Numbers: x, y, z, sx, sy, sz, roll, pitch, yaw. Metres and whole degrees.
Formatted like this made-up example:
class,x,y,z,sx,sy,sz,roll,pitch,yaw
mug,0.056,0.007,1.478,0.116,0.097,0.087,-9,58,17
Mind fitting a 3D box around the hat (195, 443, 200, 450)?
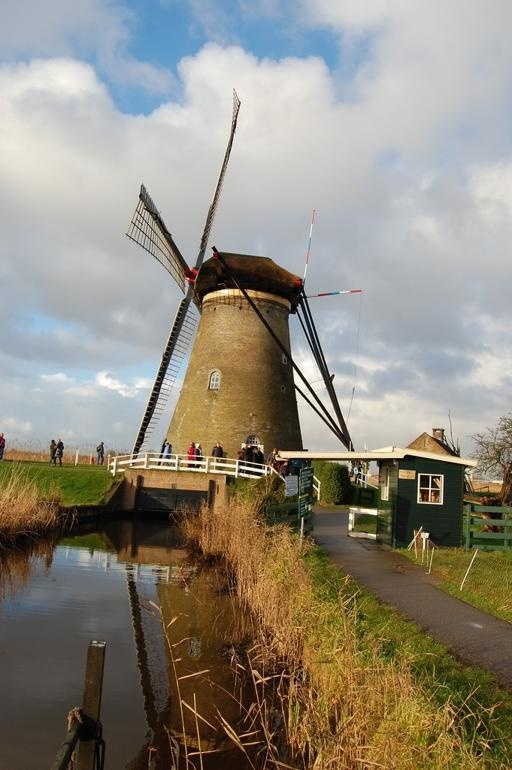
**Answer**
class,x,y,z,sx,sy,sz,roll,pitch,yaw
hat,-2.887,3.057,24.787,0.210,0.333,0.184,-11,-16,2
